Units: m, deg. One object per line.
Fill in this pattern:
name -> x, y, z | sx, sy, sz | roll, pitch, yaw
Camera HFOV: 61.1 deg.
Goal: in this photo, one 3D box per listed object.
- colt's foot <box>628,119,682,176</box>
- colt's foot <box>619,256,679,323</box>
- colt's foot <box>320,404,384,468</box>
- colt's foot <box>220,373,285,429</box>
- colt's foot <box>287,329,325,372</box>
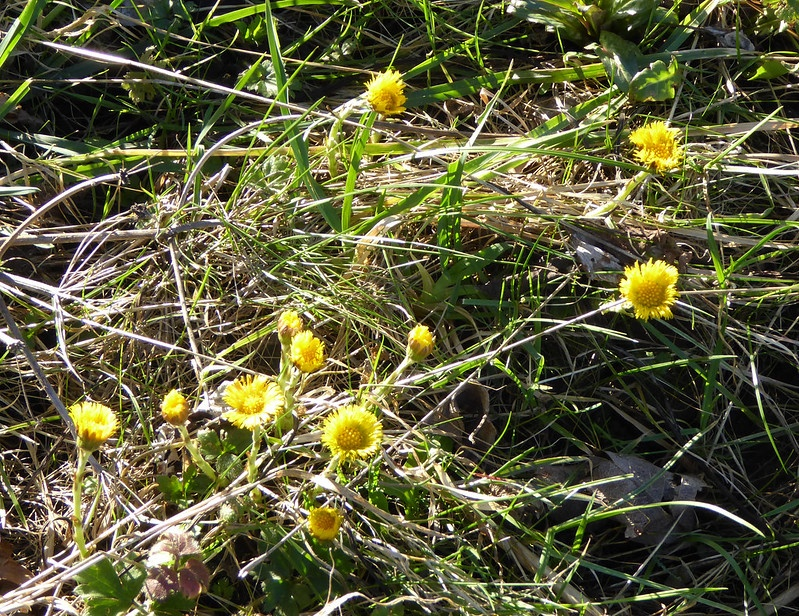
colt's foot -> 0.540, -0.349, 1.512 | 0.112, 0.142, 0.122 | 1, 19, 0
colt's foot -> 0.487, -0.050, 1.335 | 0.103, 0.087, 0.143 | 6, 59, 1
colt's foot -> -0.093, 0.226, 1.271 | 0.104, 0.137, 0.088 | -2, 21, -5
colt's foot -> -0.272, 0.172, 1.282 | 0.105, 0.135, 0.091 | -2, 21, -6
colt's foot -> -0.175, 0.078, 1.306 | 0.095, 0.071, 0.035 | 2, -4, -15
